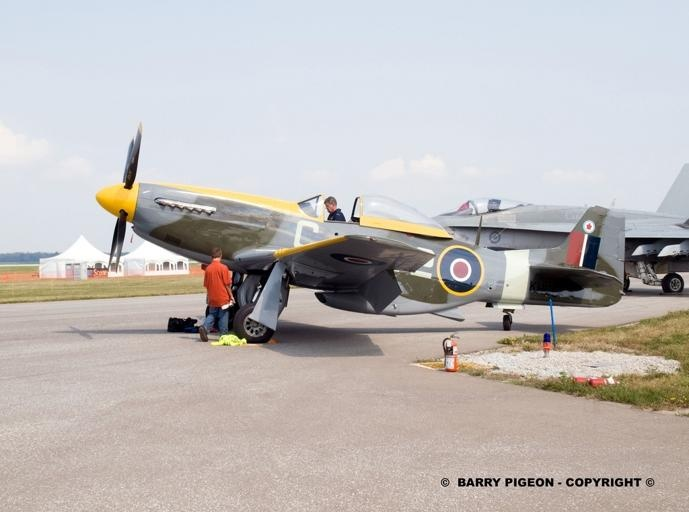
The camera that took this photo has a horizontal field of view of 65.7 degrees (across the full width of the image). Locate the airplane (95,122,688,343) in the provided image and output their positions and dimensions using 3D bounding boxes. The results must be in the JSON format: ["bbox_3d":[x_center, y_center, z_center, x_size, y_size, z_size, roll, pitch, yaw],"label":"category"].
[{"bbox_3d":[1.236,0.045,10.725,7.819,1.985,7.354,6,0,-14],"label":"airplane"}]

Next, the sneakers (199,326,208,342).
[{"bbox_3d":[-2.741,1.512,10.386,0.197,0.288,0.244,-6,-4,9],"label":"sneakers"}]

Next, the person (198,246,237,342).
[{"bbox_3d":[-2.584,0.744,10.813,0.650,1.819,1.132,1,4,-10],"label":"person"}]
